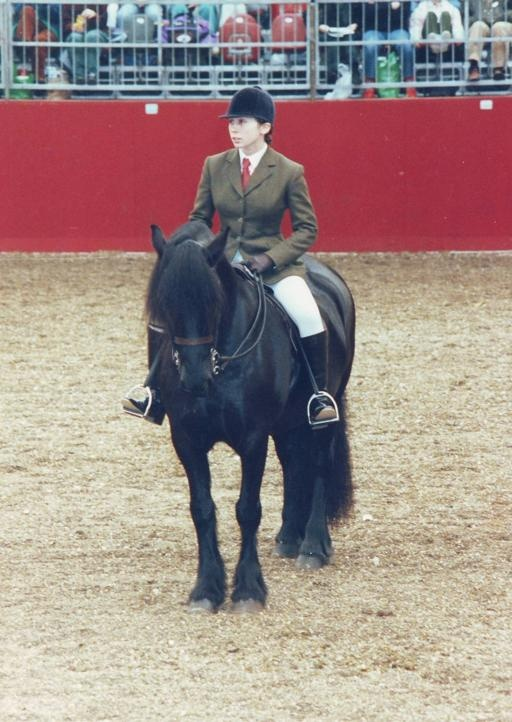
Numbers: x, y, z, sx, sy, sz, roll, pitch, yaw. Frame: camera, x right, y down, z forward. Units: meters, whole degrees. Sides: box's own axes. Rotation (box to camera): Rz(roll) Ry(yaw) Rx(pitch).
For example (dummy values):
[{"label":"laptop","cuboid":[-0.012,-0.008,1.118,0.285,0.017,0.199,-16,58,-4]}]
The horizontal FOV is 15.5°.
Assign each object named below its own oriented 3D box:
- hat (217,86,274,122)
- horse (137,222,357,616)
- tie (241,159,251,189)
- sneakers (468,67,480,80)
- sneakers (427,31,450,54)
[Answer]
[{"label":"hat","cuboid":[-0.031,-1.426,10.691,0.214,0.178,0.183,6,13,-25]},{"label":"horse","cuboid":[0.009,0.230,10.871,0.571,2.153,1.750,5,10,32]},{"label":"tie","cuboid":[-0.066,-1.080,10.793,0.052,0.157,0.026,4,8,21]},{"label":"sneakers","cuboid":[2.101,-2.765,18.137,0.072,0.166,0.065,5,-13,20]},{"label":"sneakers","cuboid":[1.749,-3.046,17.989,0.130,0.148,0.243,-1,-7,1]}]
